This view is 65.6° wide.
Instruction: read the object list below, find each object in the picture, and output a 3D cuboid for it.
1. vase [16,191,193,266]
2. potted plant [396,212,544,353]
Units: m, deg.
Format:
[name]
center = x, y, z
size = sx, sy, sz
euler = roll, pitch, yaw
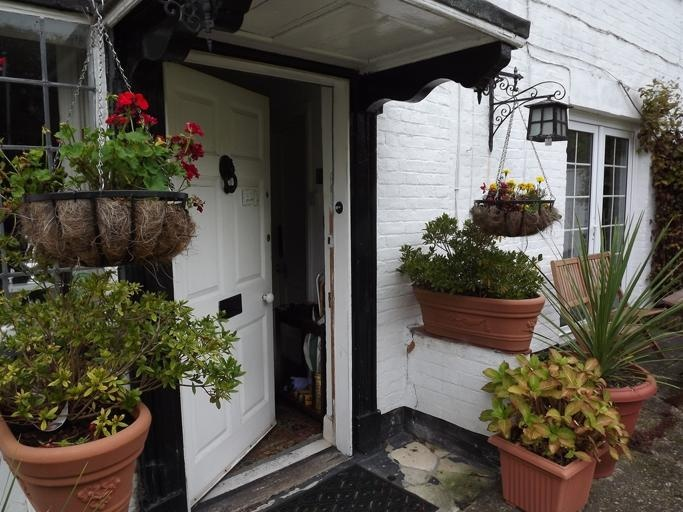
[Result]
[vase]
center = -0.941, -0.097, 2.223
size = 0.612, 0.270, 0.628
euler = -5, 0, 0
[potted plant]
center = 0.993, -0.048, 3.695
size = 1.101, 0.968, 0.812
euler = 10, 13, 41
